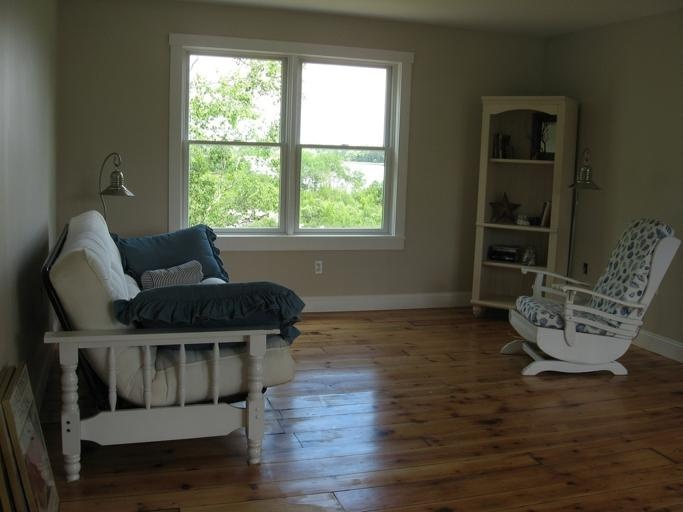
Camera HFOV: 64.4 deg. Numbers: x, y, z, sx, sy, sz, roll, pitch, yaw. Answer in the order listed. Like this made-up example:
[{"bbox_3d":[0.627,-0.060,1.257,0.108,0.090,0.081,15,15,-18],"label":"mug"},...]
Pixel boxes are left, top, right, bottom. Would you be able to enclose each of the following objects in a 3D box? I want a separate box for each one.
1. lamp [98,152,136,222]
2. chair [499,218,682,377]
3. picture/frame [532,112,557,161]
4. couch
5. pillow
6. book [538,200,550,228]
[{"bbox_3d":[-1.823,-0.484,4.307,0.326,0.612,0.253,8,7,27],"label":"lamp"},{"bbox_3d":[1.827,0.297,4.079,1.028,1.160,0.601,-1,12,-15],"label":"chair"},{"bbox_3d":[1.997,-1.190,5.388,0.220,0.451,0.171,5,12,18],"label":"picture/frame"},{"bbox_3d":[-1.195,0.354,3.596,1.264,1.006,2.227,1,10,-23],"label":"couch"},{"bbox_3d":[-0.915,0.217,3.122,0.795,0.502,1.225,-5,5,-33],"label":"pillow"},{"bbox_3d":[1.991,-0.402,5.410,0.049,0.228,0.223,8,1,14],"label":"book"}]
